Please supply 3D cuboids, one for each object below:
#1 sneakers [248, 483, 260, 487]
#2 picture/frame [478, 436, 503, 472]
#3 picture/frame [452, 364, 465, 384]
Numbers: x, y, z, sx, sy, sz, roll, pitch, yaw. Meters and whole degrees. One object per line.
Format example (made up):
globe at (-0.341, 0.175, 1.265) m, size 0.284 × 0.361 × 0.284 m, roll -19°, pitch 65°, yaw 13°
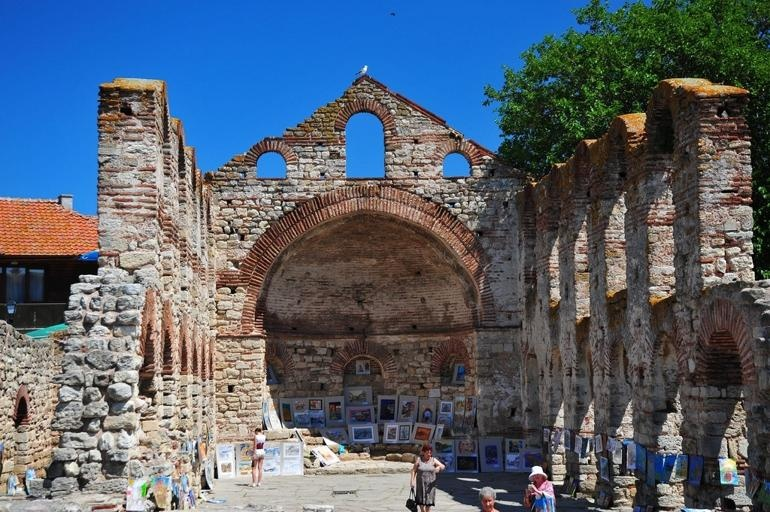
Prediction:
sneakers at (-3.289, 5.797, 30.361) m, size 0.184 × 0.064 × 0.106 m, roll 3°, pitch -11°, yaw 2°
picture/frame at (2.904, 5.475, 32.841) m, size 0.976 × 1.231 × 0.095 m, roll -1°, pitch -23°, yaw 3°
picture/frame at (2.220, 3.561, 35.841) m, size 0.616 × 0.653 × 0.092 m, roll -6°, pitch -23°, yaw 29°
